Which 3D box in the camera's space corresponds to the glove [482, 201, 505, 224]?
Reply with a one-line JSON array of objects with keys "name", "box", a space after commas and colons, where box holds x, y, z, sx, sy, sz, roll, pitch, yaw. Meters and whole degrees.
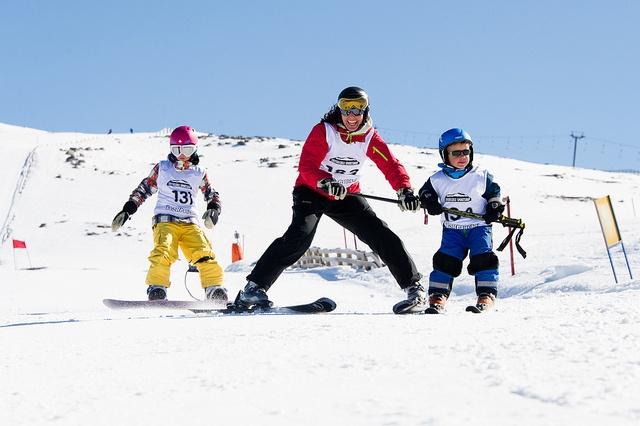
[{"name": "glove", "box": [1.849, -0.012, 7.119, 0.183, 0.253, 0.108, 16, -7, 0]}]

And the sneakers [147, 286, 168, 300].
[{"name": "sneakers", "box": [-1.847, 0.904, 7.675, 0.149, 0.174, 0.195, 12, -10, -38]}]

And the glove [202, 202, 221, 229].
[{"name": "glove", "box": [-1.304, 0.046, 8.139, 0.230, 0.310, 0.577, -5, 12, -9]}]

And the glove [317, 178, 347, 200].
[{"name": "glove", "box": [0.130, -0.263, 6.717, 0.186, 0.103, 0.244, 30, 3, -32]}]

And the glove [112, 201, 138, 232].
[{"name": "glove", "box": [-2.313, 0.026, 7.964, 0.268, 0.294, 0.612, -5, 12, -6]}]

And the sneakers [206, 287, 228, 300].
[{"name": "sneakers", "box": [-1.224, 0.940, 7.938, 0.259, 0.178, 0.203, -5, 12, -11]}]

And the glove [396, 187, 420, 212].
[{"name": "glove", "box": [0.919, -0.134, 7.021, 0.193, 0.256, 0.099, -1, -25, -13]}]

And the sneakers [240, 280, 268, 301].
[{"name": "sneakers", "box": [-0.678, 0.798, 6.917, 0.293, 0.221, 0.142, -4, 12, -6]}]

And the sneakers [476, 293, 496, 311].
[{"name": "sneakers", "box": [1.680, 0.927, 6.825, 0.182, 0.146, 0.423, 0, 13, 14]}]
